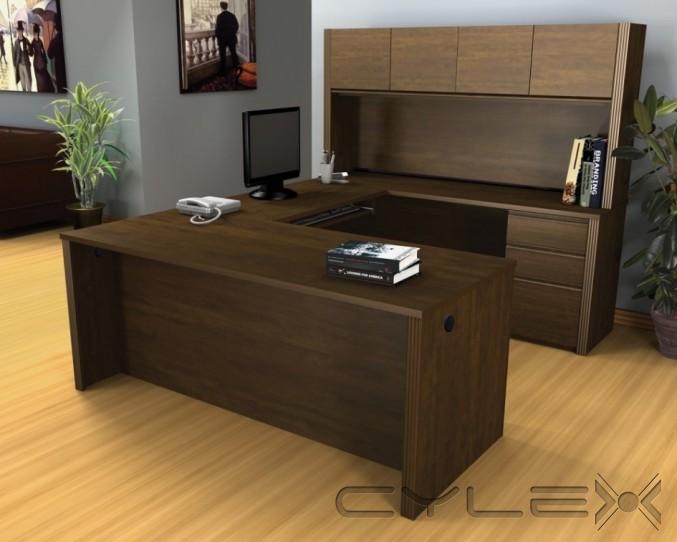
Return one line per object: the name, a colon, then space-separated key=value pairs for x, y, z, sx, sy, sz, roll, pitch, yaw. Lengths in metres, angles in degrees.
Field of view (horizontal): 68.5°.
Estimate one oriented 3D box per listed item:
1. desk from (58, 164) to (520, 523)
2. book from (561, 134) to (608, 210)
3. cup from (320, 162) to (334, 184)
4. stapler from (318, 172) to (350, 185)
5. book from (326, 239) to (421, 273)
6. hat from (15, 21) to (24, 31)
desk: x=-0.019 y=0.106 z=2.812 sx=2.078 sy=0.855 sz=1.973 roll=12 pitch=25 yaw=29
book: x=1.537 y=-0.613 z=3.067 sx=0.237 sy=0.399 sz=0.163 roll=16 pitch=28 yaw=35
cup: x=-0.085 y=-0.738 z=3.709 sx=0.137 sy=0.151 sz=0.136 roll=1 pitch=8 yaw=0
stapler: x=-0.006 y=-0.712 z=3.770 sx=0.164 sy=0.059 sz=0.124 roll=11 pitch=19 yaw=31
book: x=0.119 y=-0.057 z=1.868 sx=0.189 sy=0.037 sz=0.190 roll=12 pitch=19 yaw=36
hat: x=-3.728 y=-2.903 z=5.855 sx=0.114 sy=0.101 sz=0.026 roll=3 pitch=7 yaw=17
